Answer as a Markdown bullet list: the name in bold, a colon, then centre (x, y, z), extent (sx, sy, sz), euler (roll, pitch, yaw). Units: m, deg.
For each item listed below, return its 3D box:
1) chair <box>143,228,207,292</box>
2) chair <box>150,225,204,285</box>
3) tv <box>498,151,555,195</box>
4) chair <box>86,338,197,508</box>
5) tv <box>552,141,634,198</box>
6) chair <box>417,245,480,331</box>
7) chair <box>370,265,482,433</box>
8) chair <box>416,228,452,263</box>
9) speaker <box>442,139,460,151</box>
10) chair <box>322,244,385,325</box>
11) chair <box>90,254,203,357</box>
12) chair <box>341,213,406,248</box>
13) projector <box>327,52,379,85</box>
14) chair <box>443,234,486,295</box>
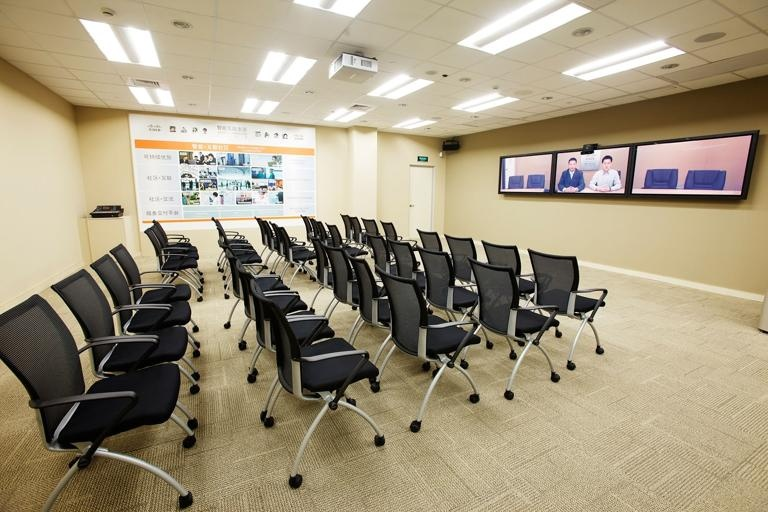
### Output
- **chair**: centre (-3.248, -0.042, 6.984), extent (0.753, 0.995, 0.743), euler (-9, 17, -4)
- **chair**: centre (-3.631, -0.018, 7.639), extent (0.917, 1.221, 0.967), euler (-3, 13, -13)
- **tv**: centre (3.333, -1.934, 10.173), extent (0.046, 0.729, 1.170), euler (-7, 10, -31)
- **chair**: centre (-2.150, 1.428, 3.991), extent (0.816, 1.349, 1.144), euler (-10, 16, -35)
- **tv**: centre (4.262, -1.753, 8.872), extent (0.092, 0.817, 1.337), euler (-5, 9, -35)
- **chair**: centre (0.706, 0.306, 5.589), extent (0.877, 1.125, 0.815), euler (-9, 16, -32)
- **chair**: centre (0.460, 0.871, 4.578), extent (0.937, 1.519, 0.778), euler (-9, 15, -31)
- **chair**: centre (0.667, -0.160, 6.264), extent (0.426, 0.543, 0.351), euler (-16, 21, -39)
- **speaker**: centre (1.850, -2.991, 12.240), extent (0.463, 0.323, 0.328), euler (2, 6, 14)
- **chair**: centre (-0.509, 0.268, 5.224), extent (0.842, 1.000, 0.693), euler (-6, 12, -32)
- **chair**: centre (-2.668, 0.575, 4.971), extent (1.038, 1.347, 0.937), euler (-2, 14, -8)
- **chair**: centre (-0.291, -0.538, 8.887), extent (0.350, 0.453, 1.163), euler (-7, 13, -31)
- **projector**: centre (-0.442, -2.770, 6.442), extent (0.695, 0.316, 0.503), euler (-2, 12, -5)
- **chair**: centre (1.049, 0.033, 5.927), extent (0.666, 0.885, 0.536), euler (-11, 17, -33)
